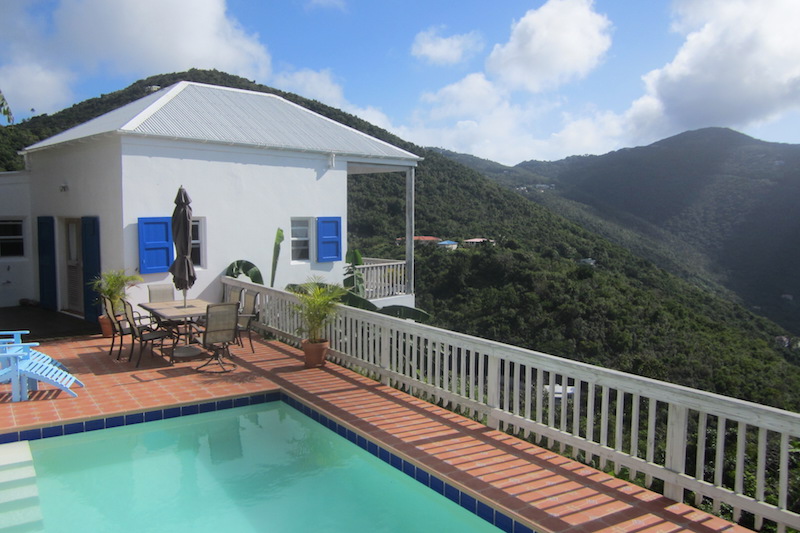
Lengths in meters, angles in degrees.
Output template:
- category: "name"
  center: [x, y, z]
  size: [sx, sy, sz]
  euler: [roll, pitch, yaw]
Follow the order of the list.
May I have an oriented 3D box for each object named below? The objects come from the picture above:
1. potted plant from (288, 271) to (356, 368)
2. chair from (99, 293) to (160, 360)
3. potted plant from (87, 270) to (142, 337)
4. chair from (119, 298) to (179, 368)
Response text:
- category: "potted plant"
  center: [-1.883, 1.191, 11.400]
  size: [1.225, 1.588, 1.074]
  euler: [-4, -5, 33]
- category: "chair"
  center: [-6.154, 1.386, 12.267]
  size: [0.929, 1.549, 1.083]
  euler: [19, 18, 40]
- category: "potted plant"
  center: [-6.830, 0.840, 13.015]
  size: [1.370, 1.472, 1.164]
  euler: [-1, 17, -23]
- category: "chair"
  center: [-5.390, 1.384, 11.698]
  size: [0.998, 1.315, 0.947]
  euler: [-1, 6, -28]
